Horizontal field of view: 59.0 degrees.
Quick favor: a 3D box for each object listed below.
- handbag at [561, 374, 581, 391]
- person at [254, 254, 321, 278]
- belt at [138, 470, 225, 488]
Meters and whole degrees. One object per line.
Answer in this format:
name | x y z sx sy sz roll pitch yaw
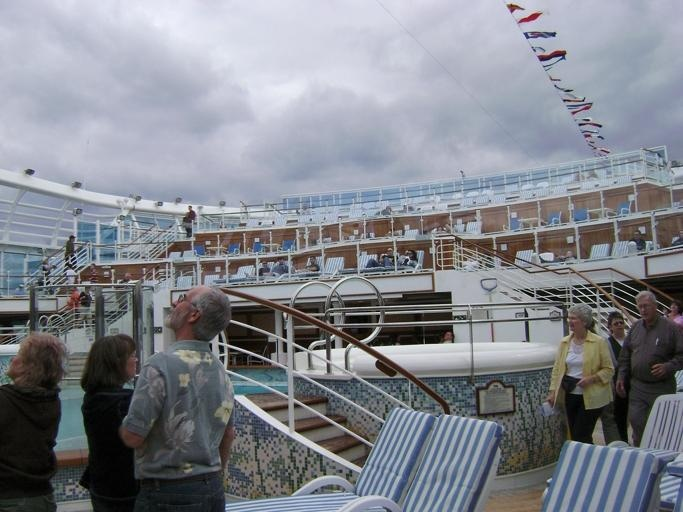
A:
handbag | 2.324 1.293 6.124 0.064 0.150 0.125 30 20 20
person | -1.587 0.399 18.489 1.312 0.470 0.902 1 -4 0
belt | -1.013 1.435 3.852 0.508 0.101 0.134 0 -5 -14
